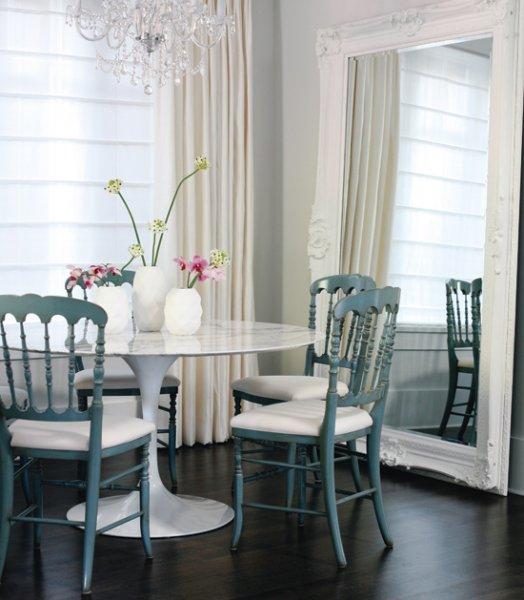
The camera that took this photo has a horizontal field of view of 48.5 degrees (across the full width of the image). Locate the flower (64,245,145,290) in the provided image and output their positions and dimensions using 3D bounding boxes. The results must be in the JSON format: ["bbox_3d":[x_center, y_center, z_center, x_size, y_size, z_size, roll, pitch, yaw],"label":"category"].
[{"bbox_3d":[-0.787,-0.165,2.826,0.386,0.231,0.243,-6,0,13],"label":"flower"}]

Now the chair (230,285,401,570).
[{"bbox_3d":[0.210,0.416,2.349,0.634,0.900,1.308,1,-3,12],"label":"chair"}]

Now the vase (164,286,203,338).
[{"bbox_3d":[-0.294,0.044,2.128,0.131,0.171,0.169,2,-3,-10],"label":"vase"}]

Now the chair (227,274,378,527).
[{"bbox_3d":[0.195,0.401,2.038,0.478,0.879,0.458,2,0,24],"label":"chair"}]
